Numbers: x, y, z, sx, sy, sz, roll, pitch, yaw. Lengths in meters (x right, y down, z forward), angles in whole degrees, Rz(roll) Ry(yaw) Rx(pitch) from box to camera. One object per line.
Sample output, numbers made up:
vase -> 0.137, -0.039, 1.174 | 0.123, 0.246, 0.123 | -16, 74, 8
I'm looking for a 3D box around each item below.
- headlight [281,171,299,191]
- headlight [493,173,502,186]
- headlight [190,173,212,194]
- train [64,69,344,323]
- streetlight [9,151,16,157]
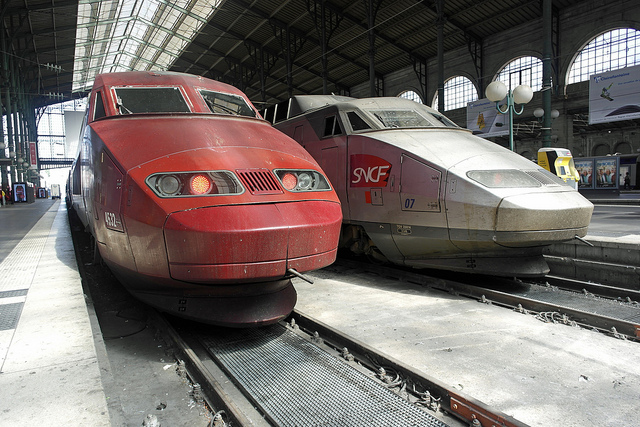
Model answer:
headlight -> -0.338, -0.400, 4.198 | 0.130, 0.215, 0.237 | 10, 9, 43
headlight -> 2.836, -0.555, 5.648 | 0.125, 0.049, 0.213 | 2, 34, 16
headlight -> -1.274, -0.330, 3.794 | 0.224, 0.216, 0.104 | 2, 7, -16
train -> -1.518, -0.291, 4.606 | 3.149, 3.537, 1.837 | 9, 8, 37
streetlight -> -25.315, -4.905, 29.129 | 0.471, 0.293, 0.543 | -7, 16, -39
